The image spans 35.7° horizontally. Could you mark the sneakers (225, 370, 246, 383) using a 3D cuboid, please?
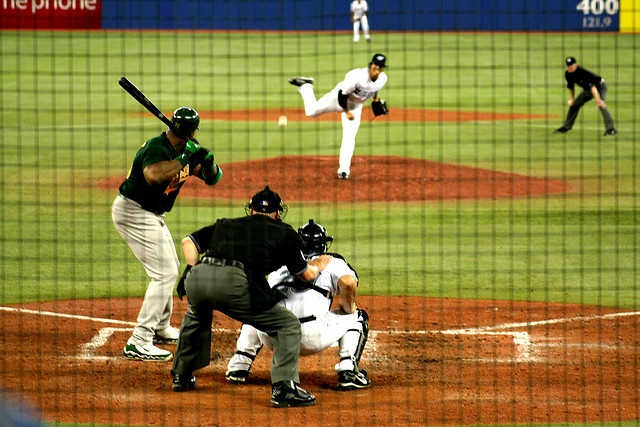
[{"bbox_3d":[-1.315,2.610,15.587,0.285,0.210,0.162,-2,17,-2],"label":"sneakers"}]

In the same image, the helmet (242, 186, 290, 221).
[{"bbox_3d":[-0.811,-0.156,15.595,0.441,0.342,0.627,6,7,1],"label":"helmet"}]

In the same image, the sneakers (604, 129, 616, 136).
[{"bbox_3d":[7.112,-1.971,24.236,0.122,0.257,0.378,6,3,41],"label":"sneakers"}]

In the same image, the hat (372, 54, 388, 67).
[{"bbox_3d":[1.208,-3.212,20.828,0.263,0.223,0.376,4,-6,-22],"label":"hat"}]

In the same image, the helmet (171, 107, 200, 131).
[{"bbox_3d":[-2.158,-1.501,15.998,0.406,0.352,0.333,2,48,-7],"label":"helmet"}]

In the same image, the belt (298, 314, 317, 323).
[{"bbox_3d":[-0.199,1.679,15.521,0.343,0.090,0.093,-11,8,-7],"label":"belt"}]

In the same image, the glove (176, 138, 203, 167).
[{"bbox_3d":[-2.099,-0.973,15.904,0.164,0.324,0.424,31,-45,-17],"label":"glove"}]

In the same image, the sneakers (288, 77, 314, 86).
[{"bbox_3d":[-0.436,-2.988,22.258,0.562,0.246,0.213,-1,-3,-7],"label":"sneakers"}]
